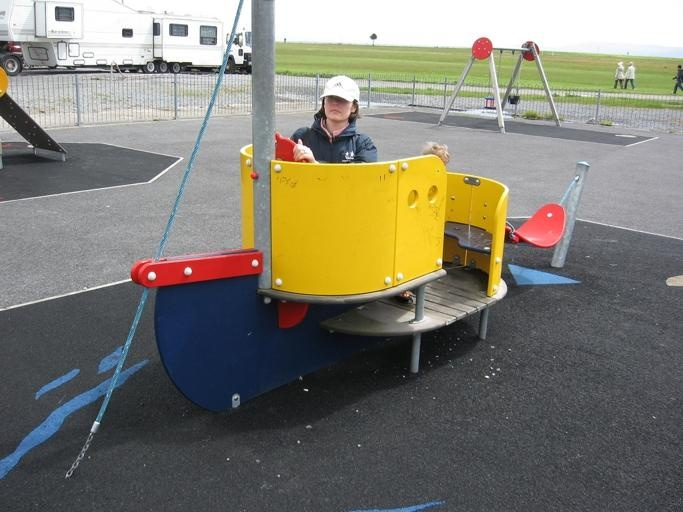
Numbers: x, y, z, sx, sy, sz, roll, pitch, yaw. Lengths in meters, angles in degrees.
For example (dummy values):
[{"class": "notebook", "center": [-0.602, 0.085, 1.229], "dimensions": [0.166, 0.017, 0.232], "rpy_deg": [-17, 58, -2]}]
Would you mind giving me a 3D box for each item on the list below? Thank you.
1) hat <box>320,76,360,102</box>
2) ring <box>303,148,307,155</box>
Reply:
[{"class": "hat", "center": [0.030, -1.377, 4.286], "dimensions": [0.194, 0.156, 0.271], "rpy_deg": [8, 7, 11]}, {"class": "ring", "center": [-0.261, -0.759, 3.840], "dimensions": [0.032, 0.027, 0.033], "rpy_deg": [2, 20, -1]}]
